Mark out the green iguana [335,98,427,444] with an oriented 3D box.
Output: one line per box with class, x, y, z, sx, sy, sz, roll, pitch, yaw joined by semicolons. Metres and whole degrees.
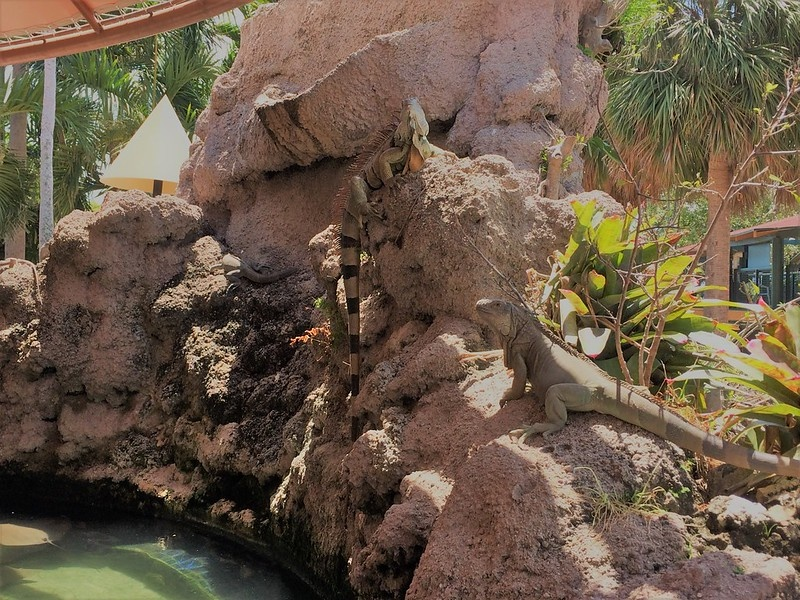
green iguana;-0.448;-0.331;13.116;0.921;4.389;1.260;11;5;-1
